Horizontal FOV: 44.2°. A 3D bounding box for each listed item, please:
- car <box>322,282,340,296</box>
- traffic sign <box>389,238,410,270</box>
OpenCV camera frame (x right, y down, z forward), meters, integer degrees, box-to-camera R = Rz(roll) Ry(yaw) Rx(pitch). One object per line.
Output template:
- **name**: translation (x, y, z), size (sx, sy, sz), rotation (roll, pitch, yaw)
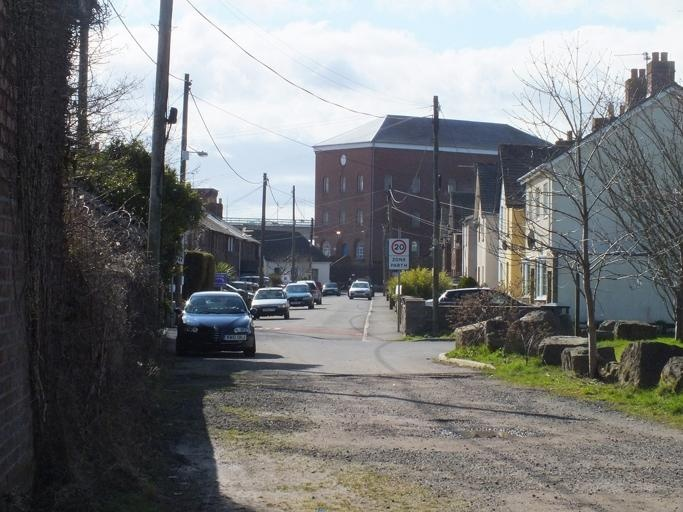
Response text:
- **car**: translation (-1.058, 3.599, 90.995), size (1.647, 1.172, 2.318), rotation (0, 1, -5)
- **traffic sign**: translation (1.963, -0.074, 28.378), size (0.639, 1.036, 1.364), rotation (0, 1, 1)
